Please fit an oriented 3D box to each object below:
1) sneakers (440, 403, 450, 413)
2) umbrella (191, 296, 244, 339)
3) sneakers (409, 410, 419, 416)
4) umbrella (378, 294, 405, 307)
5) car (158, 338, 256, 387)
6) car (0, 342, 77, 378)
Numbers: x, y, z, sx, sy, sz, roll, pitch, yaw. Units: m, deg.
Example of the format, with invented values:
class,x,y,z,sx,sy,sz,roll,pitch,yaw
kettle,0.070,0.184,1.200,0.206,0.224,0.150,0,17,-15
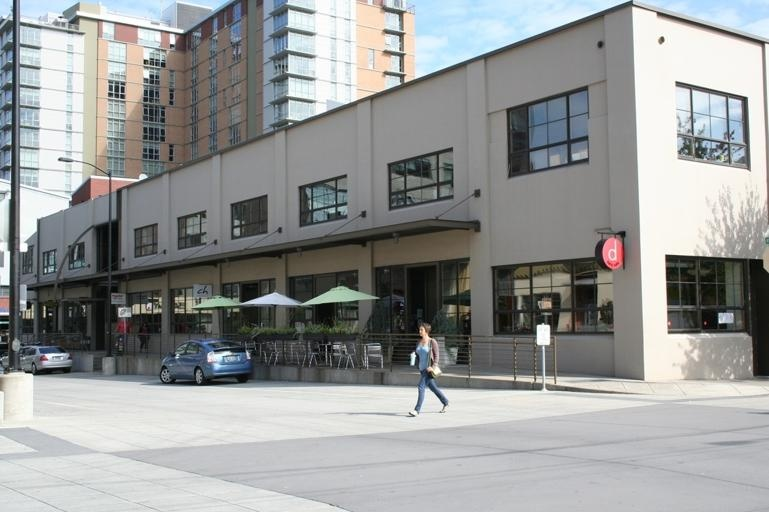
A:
class,x,y,z,sx,sy,sz,roll,pitch,yaw
sneakers,1.550,3.948,20.476,0.119,0.174,0.371,-2,-14,14
umbrella,-7.841,3.325,37.030,2.214,1.851,2.623,-3,1,-27
sneakers,0.739,3.944,19.945,0.233,0.149,0.296,0,-10,-2
umbrella,0.300,1.793,32.034,0.639,0.271,0.653,4,-9,-23
car,-7.026,4.082,30.711,1.668,1.318,3.226,6,-7,-41
car,-18.687,5.598,43.329,2.949,1.658,1.421,-6,-11,29
